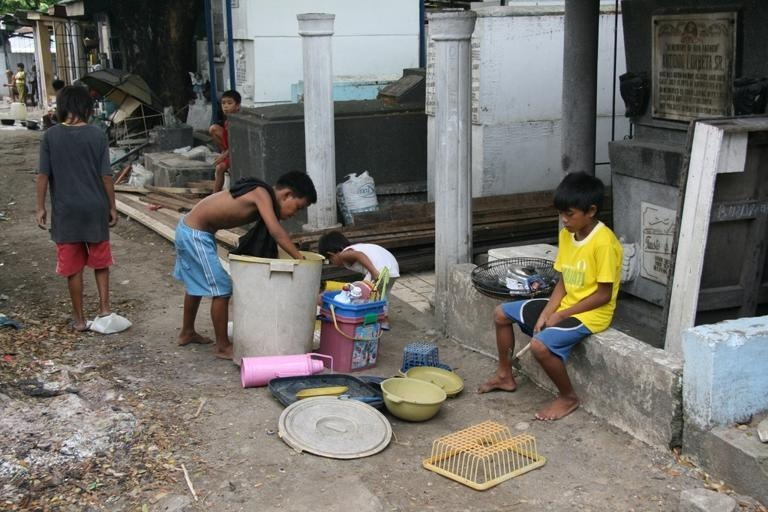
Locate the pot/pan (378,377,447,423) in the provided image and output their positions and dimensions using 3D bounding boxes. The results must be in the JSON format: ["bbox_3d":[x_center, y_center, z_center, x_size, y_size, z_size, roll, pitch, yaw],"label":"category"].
[{"bbox_3d":[0.229,1.219,5.372,0.382,0.164,0.411,2,14,-4],"label":"pot/pan"}]

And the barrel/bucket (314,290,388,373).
[{"bbox_3d":[-0.269,0.629,6.307,0.677,0.782,0.849,8,12,42],"label":"barrel/bucket"}]

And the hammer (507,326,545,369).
[{"bbox_3d":[1.207,0.804,5.463,0.157,0.361,0.232,7,37,-34],"label":"hammer"}]

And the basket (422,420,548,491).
[{"bbox_3d":[0.762,1.513,4.859,0.956,0.218,0.571,-7,18,-14],"label":"basket"}]

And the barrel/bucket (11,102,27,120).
[{"bbox_3d":[-13.828,-5.465,24.092,0.532,0.583,0.430,-15,22,-35],"label":"barrel/bucket"}]

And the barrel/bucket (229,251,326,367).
[{"bbox_3d":[-1.049,0.460,5.944,0.991,0.958,0.880,3,6,8],"label":"barrel/bucket"}]

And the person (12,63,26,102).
[{"bbox_3d":[-15.619,-7.455,27.299,0.492,1.537,2.093,-12,20,-27],"label":"person"}]

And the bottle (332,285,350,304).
[{"bbox_3d":[-0.406,0.379,6.050,0.083,0.150,0.083,14,32,-9],"label":"bottle"}]

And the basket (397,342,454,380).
[{"bbox_3d":[0.382,1.005,6.045,0.484,0.248,0.460,-7,18,-15],"label":"basket"}]

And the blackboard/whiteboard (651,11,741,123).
[{"bbox_3d":[3.016,-1.865,6.304,0.144,1.050,0.983,-10,19,-21],"label":"blackboard/whiteboard"}]
